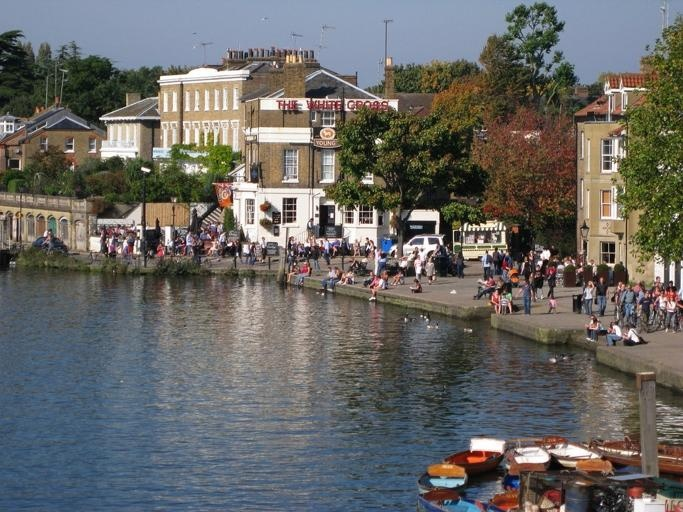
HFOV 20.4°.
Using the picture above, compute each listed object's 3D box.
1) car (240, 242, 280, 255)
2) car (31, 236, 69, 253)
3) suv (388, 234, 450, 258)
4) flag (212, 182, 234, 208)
[{"bbox_3d":[-6.325,-0.384,146.677,2.121,1.145,1.306,4,0,2],"label":"car"},{"bbox_3d":[-23.983,-0.469,151.950,2.323,1.632,1.639,5,5,16],"label":"car"},{"bbox_3d":[5.996,-0.331,139.735,3.094,1.899,2.008,2,2,6],"label":"suv"},{"bbox_3d":[-9.849,-4.931,159.029,1.888,2.155,1.836,-1,2,-32],"label":"flag"}]
